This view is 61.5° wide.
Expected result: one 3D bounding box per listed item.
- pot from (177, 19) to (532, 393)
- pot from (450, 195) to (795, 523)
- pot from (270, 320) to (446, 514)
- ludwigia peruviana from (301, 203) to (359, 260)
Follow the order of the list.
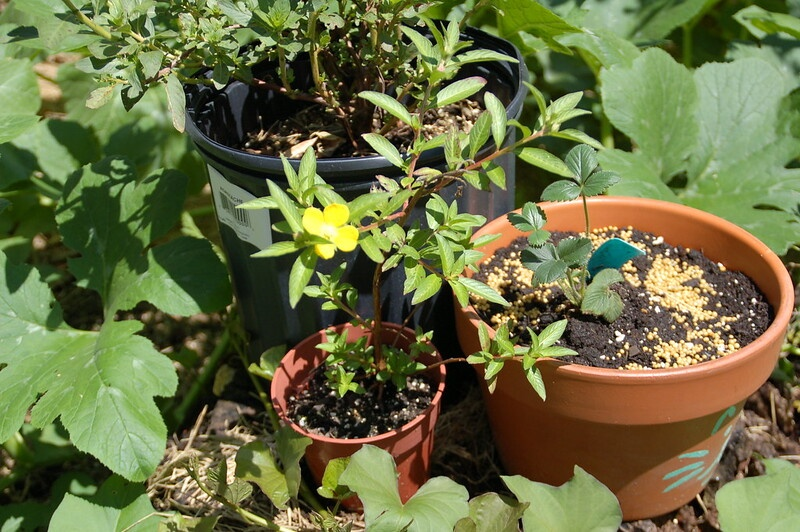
[{"bbox_3d":[-0.237,-0.174,2.539,0.957,1.077,1.085,18,38,11],"label":"pot"},{"bbox_3d":[0.623,0.367,2.340,1.001,0.709,1.004,-3,29,1],"label":"pot"},{"bbox_3d":[-0.096,0.426,2.209,0.531,0.425,0.571,-3,33,2],"label":"pot"},{"bbox_3d":[-0.160,-0.079,1.564,0.127,0.063,0.123,-22,86,-11],"label":"ludwigia peruviana"}]
